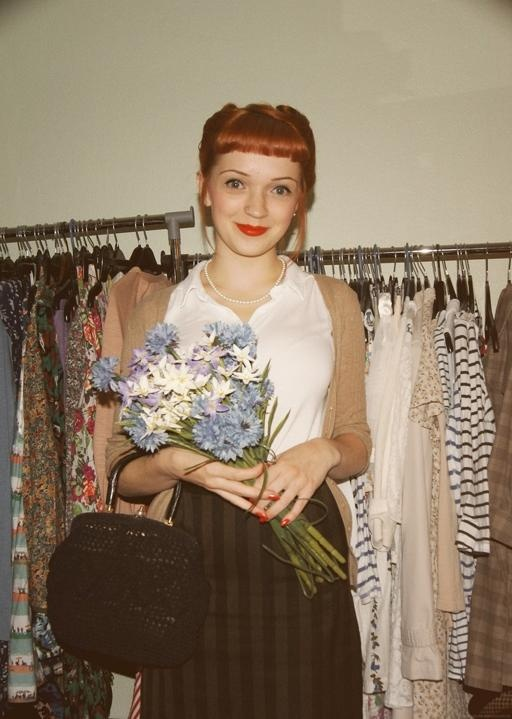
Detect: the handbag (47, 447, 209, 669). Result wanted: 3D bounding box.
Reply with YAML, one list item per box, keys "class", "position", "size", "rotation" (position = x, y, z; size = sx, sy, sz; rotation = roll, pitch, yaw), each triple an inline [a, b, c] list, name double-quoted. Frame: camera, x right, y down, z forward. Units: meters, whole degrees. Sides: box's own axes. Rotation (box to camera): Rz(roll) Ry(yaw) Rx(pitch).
- class: "handbag"
  position: [-0.230, 0.417, 1.396]
  size: [0.234, 0.319, 0.314]
  rotation: [13, 1, 3]
